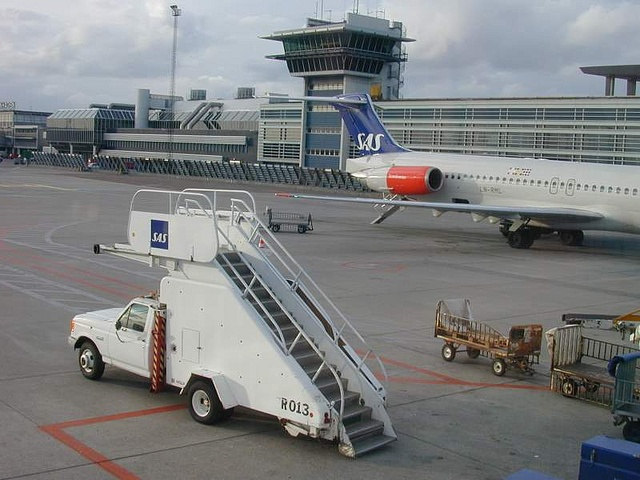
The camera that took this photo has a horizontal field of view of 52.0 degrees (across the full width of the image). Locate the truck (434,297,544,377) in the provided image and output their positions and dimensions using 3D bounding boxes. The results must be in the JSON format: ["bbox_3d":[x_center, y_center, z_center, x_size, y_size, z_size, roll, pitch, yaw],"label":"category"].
[{"bbox_3d":[4.581,2.707,18.021,3.268,1.719,1.661,11,8,42],"label":"truck"}]

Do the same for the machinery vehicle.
[{"bbox_3d":[-2.345,1.524,15.343,9.363,4.345,3.210,6,5,40],"label":"machinery vehicle"}]

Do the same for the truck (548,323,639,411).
[{"bbox_3d":[6.882,3.093,17.119,1.845,1.612,2.887,1,1,11],"label":"truck"}]

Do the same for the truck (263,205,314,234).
[{"bbox_3d":[-2.134,-1.254,44.542,3.116,1.292,2.221,0,9,1],"label":"truck"}]
